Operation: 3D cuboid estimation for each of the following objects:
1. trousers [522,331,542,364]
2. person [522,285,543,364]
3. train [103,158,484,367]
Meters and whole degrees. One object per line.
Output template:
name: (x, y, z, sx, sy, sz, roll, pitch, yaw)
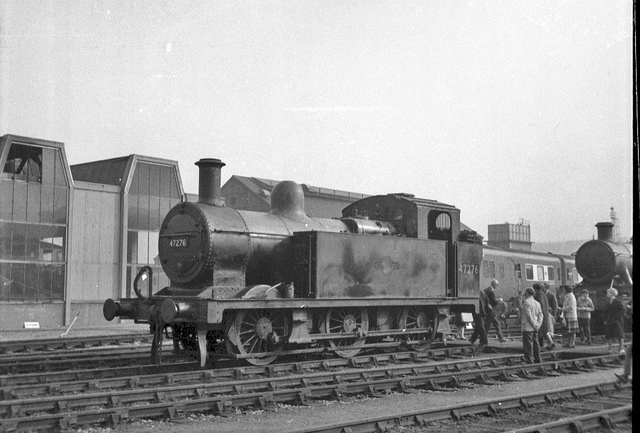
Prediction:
trousers: (6.060, 3.721, 17.789, 0.600, 0.960, 0.476, 2, 13, -25)
person: (6.076, 3.166, 17.859, 0.578, 2.258, 0.601, -2, 6, -22)
train: (0.186, 1.898, 19.684, 5.241, 5.933, 11.826, -7, -11, 44)
